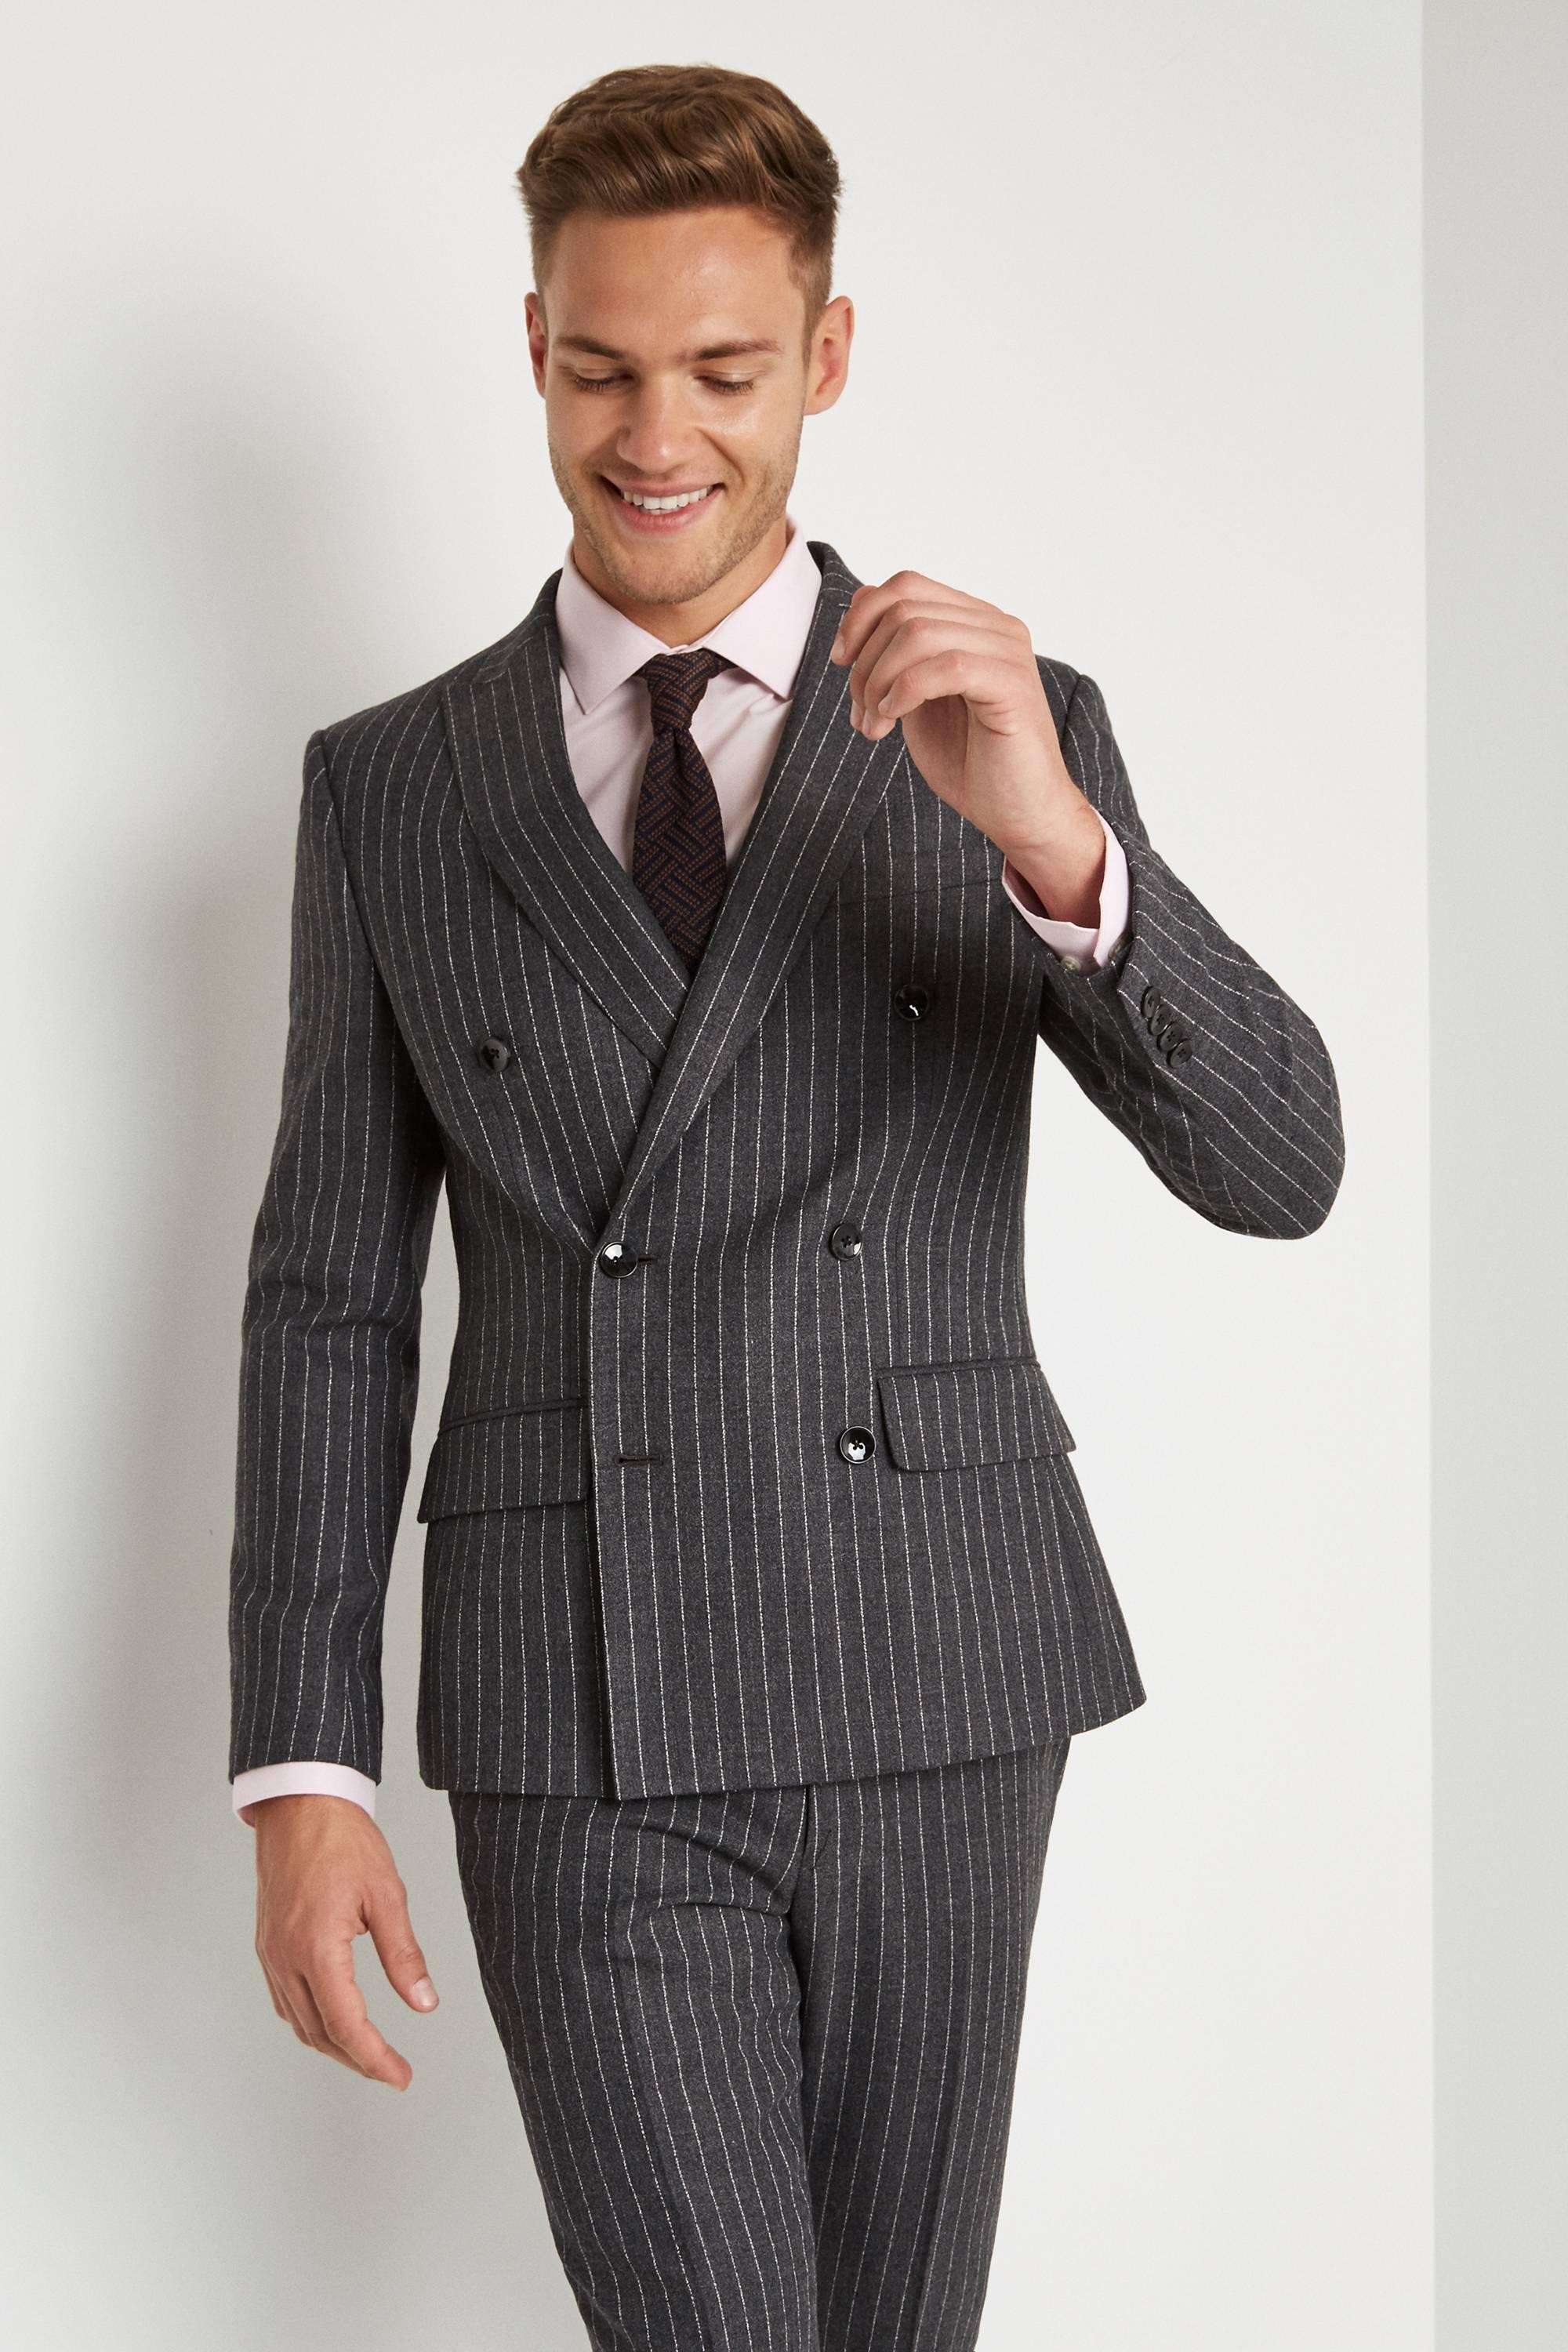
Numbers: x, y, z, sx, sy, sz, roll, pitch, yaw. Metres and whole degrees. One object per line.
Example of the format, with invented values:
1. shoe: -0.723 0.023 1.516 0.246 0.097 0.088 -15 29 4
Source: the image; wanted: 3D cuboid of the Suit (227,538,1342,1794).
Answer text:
1. Suit: -0.058 -0.015 1.371 0.489 0.733 0.244 0 -18 20
